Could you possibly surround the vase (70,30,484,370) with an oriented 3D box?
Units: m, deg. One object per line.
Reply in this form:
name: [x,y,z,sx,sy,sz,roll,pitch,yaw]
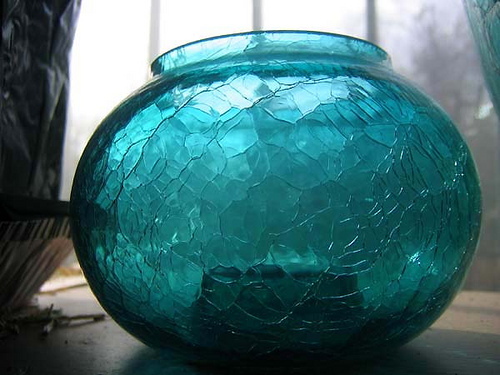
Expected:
vase: [0.046,0.036,1.109,0.525,0.444,0.587,0,-6,-1]
